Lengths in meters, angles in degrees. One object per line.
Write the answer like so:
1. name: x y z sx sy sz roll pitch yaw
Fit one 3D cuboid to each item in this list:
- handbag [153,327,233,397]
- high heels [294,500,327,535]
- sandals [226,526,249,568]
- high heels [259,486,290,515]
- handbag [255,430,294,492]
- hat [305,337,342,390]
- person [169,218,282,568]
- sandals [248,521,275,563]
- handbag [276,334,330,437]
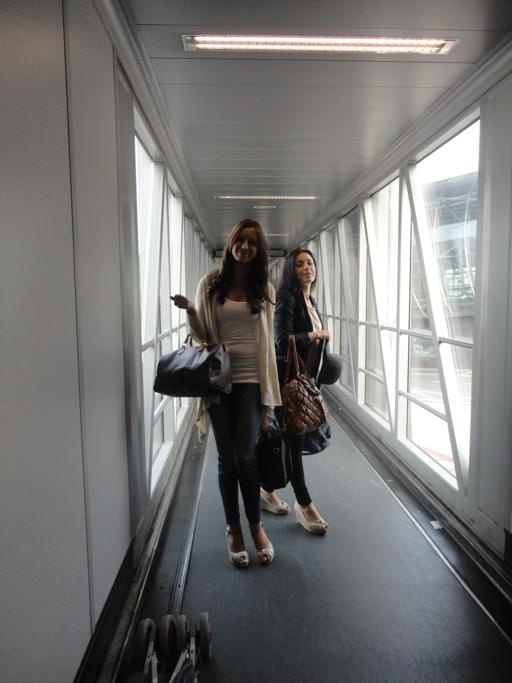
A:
1. handbag: -0.315 0.106 1.941 0.330 0.438 0.171 -9 -31 25
2. high heels: 0.341 1.058 2.383 0.079 0.125 0.242 -2 -9 -16
3. sandals: -0.087 1.046 2.001 0.060 0.103 0.219 0 -12 -8
4. high heels: 0.124 1.057 2.638 0.085 0.139 0.272 4 -11 -27
5. handbag: 0.116 0.600 2.364 0.174 0.457 0.317 -5 37 0
6. hat: 0.432 0.150 2.486 0.088 0.283 0.281 -4 -20 23
7. person: -0.112 0.270 2.012 0.467 1.733 0.260 0 1 5
8. sandals: 0.037 1.051 2.093 0.073 0.101 0.241 3 22 -16
9. handbag: 0.277 0.256 2.308 0.303 0.595 0.200 9 -24 -40
